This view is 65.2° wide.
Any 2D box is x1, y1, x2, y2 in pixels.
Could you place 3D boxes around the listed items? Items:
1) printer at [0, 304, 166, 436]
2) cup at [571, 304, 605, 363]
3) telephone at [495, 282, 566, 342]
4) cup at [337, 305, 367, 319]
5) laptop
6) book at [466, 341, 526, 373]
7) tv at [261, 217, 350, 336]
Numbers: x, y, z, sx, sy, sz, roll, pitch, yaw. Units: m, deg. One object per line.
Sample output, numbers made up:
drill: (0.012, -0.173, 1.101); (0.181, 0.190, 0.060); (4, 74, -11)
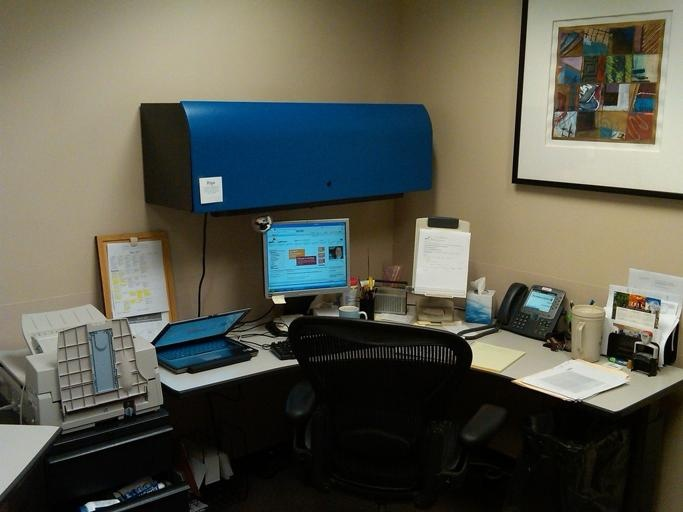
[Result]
printer: (-1.086, 0.368, 2.203); (0.429, 0.371, 0.540); (-9, 18, -36)
cup: (1.146, 0.371, 2.495); (0.138, 0.233, 0.095); (5, 14, 22)
telephone: (1.033, 0.298, 2.802); (0.245, 0.093, 0.317); (5, 45, 42)
cup: (0.055, 0.288, 2.766); (0.130, 0.088, 0.087); (5, 8, 16)
laptop: (-0.661, 0.370, 2.527); (0.454, 0.225, 0.360); (-8, 15, -27)
book: (0.717, 0.477, 2.518); (0.185, 0.010, 0.205); (5, 18, 31)
tv: (-0.169, 0.090, 2.906); (0.463, 0.542, 0.188); (-3, -13, -1)
